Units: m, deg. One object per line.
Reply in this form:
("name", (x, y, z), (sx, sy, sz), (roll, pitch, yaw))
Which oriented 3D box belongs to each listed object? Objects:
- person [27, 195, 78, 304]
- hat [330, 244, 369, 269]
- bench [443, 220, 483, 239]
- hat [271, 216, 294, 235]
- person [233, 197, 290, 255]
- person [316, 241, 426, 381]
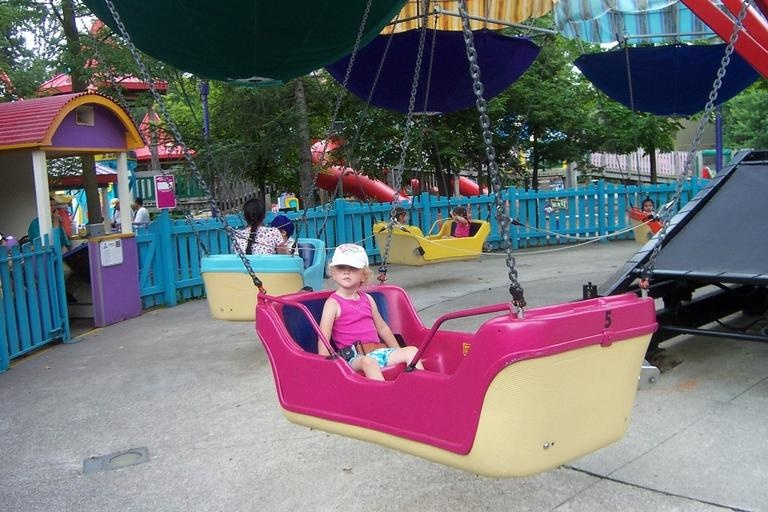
("person", (-4.957, -0.048, 8.388), (0.535, 1.402, 2.468), (-10, 12, -31))
("hat", (-0.270, 0.015, 4.112), (0.270, 0.182, 0.204), (-4, 11, -7))
("bench", (1.399, -0.473, 10.257), (0.681, 0.375, 0.468), (0, 40, 23))
("hat", (-1.257, -0.385, 7.068), (0.228, 0.262, 0.318), (-7, 6, -2))
("person", (-1.366, -0.311, 6.293), (0.552, 0.618, 0.742), (-4, 11, -10))
("person", (-0.159, 0.372, 4.004), (0.649, 0.858, 0.747), (-8, 12, -28))
